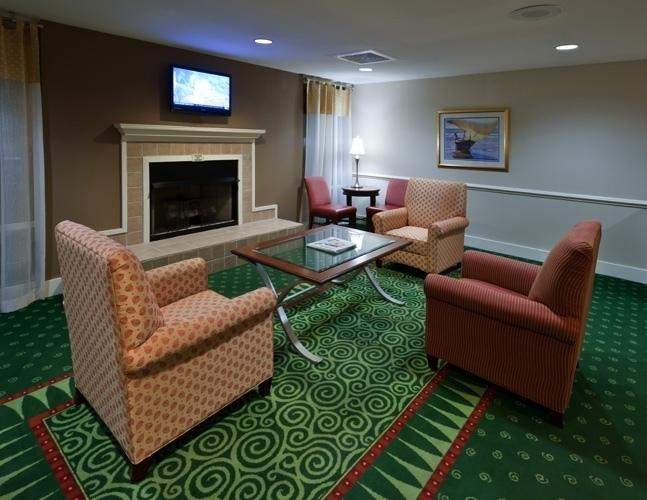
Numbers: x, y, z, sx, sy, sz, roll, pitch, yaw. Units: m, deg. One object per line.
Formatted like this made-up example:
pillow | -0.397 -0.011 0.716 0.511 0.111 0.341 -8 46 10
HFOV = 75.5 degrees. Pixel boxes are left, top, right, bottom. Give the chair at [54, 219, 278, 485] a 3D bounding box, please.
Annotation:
chair | -1.113 0.447 2.995 1.375 1.723 1.322 14 20 37

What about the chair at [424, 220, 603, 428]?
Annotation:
chair | 1.424 0.205 3.266 1.256 1.640 1.193 12 18 42

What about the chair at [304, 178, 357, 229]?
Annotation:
chair | 0.035 -0.666 6.063 0.780 0.727 0.467 14 19 38

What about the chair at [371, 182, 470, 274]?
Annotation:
chair | 1.138 -0.275 4.835 0.707 0.989 0.875 -15 21 -43

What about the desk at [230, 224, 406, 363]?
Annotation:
desk | 0.009 0.287 3.735 1.112 0.669 1.461 12 20 33

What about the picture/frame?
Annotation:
picture/frame | 2.045 -1.499 5.595 0.909 0.752 0.038 10 16 43
